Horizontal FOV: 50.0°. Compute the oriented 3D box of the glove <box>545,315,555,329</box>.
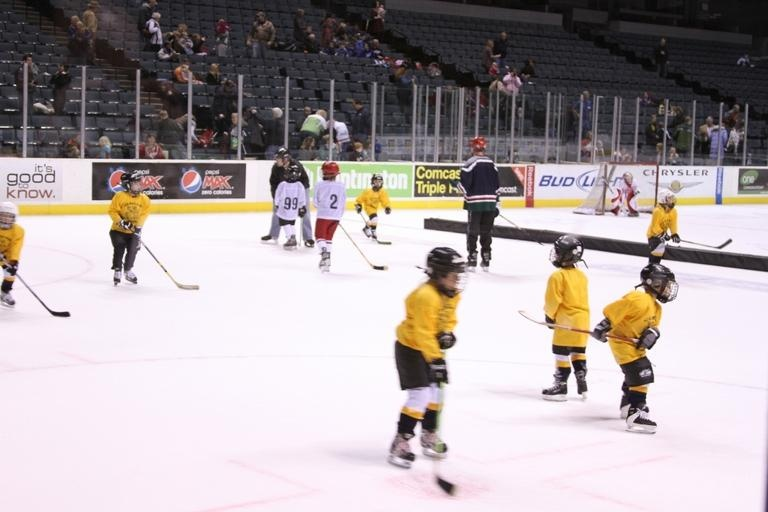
[{"bbox_3d":[1.422,0.574,7.042,0.060,0.158,0.116,-11,15,12],"label":"glove"}]

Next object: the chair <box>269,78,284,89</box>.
[{"bbox_3d":[-2.486,-4.043,19.182,0.291,0.360,0.309,-3,17,-24],"label":"chair"}]

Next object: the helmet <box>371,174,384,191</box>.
[{"bbox_3d":[-0.138,-1.330,14.892,0.295,0.270,0.219,-4,-3,36],"label":"helmet"}]

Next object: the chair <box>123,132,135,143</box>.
[{"bbox_3d":[-5.265,-2.483,17.154,0.286,0.255,0.206,4,14,6],"label":"chair"}]

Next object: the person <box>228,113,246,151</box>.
[{"bbox_3d":[-3.236,-2.727,18.133,0.350,0.840,0.098,-2,14,-14],"label":"person"}]

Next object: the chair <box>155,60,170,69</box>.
[{"bbox_3d":[-5.340,-4.606,19.911,0.265,0.333,0.254,-9,23,-35],"label":"chair"}]

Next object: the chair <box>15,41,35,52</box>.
[{"bbox_3d":[-8.327,-4.837,19.005,0.326,0.376,0.291,26,29,38],"label":"chair"}]

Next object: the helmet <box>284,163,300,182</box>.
[{"bbox_3d":[-1.492,-1.334,13.268,0.235,0.278,0.286,6,-18,-28],"label":"helmet"}]

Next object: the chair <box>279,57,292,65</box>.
[{"bbox_3d":[-2.641,-5.159,21.925,0.348,0.212,0.255,-1,13,-12],"label":"chair"}]

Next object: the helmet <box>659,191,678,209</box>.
[{"bbox_3d":[3.976,-0.802,11.546,0.199,0.248,0.505,6,13,17],"label":"helmet"}]

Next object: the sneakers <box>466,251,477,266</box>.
[{"bbox_3d":[1.301,0.036,12.133,0.139,0.257,0.475,3,13,5],"label":"sneakers"}]

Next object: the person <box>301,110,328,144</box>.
[{"bbox_3d":[-1.609,-2.947,18.794,0.481,0.272,0.814,13,52,16],"label":"person"}]

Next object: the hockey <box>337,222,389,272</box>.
[{"bbox_3d":[-0.354,-0.146,13.777,0.295,0.357,2.427,-33,-19,8],"label":"hockey"}]

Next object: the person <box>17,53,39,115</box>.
[{"bbox_3d":[-7.020,-3.357,16.187,0.409,1.257,0.445,35,36,26],"label":"person"}]

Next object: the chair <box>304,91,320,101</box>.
[{"bbox_3d":[-1.724,-3.823,19.554,0.274,0.229,0.266,-1,10,-7],"label":"chair"}]

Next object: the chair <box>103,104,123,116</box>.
[{"bbox_3d":[-5.790,-3.094,17.412,0.422,0.227,0.288,-2,5,-15],"label":"chair"}]

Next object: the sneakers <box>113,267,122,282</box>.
[{"bbox_3d":[-3.378,0.242,10.420,0.080,0.209,0.103,-2,0,-20],"label":"sneakers"}]

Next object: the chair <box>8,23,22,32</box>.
[{"bbox_3d":[-8.812,-5.443,19.543,0.246,0.191,0.339,14,18,42],"label":"chair"}]

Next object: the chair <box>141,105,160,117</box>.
[{"bbox_3d":[-4.918,-3.050,17.251,0.280,0.180,0.262,-1,12,-27],"label":"chair"}]

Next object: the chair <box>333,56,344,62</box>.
[{"bbox_3d":[-1.267,-5.516,23.003,0.228,0.185,0.298,5,13,14],"label":"chair"}]

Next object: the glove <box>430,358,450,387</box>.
[{"bbox_3d":[0.396,0.803,5.760,0.165,0.228,0.175,-2,2,5],"label":"glove"}]

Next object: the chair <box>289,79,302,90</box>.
[{"bbox_3d":[-2.110,-4.110,19.654,0.316,0.254,0.247,0,8,-1],"label":"chair"}]

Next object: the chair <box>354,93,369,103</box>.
[{"bbox_3d":[-0.541,-3.770,19.439,0.284,0.291,0.288,1,2,6],"label":"chair"}]

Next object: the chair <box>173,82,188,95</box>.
[{"bbox_3d":[-4.326,-3.581,17.583,0.443,0.290,0.231,3,12,5],"label":"chair"}]

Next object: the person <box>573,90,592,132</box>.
[{"bbox_3d":[5.340,-3.869,21.936,0.735,0.987,0.222,-11,18,-43],"label":"person"}]

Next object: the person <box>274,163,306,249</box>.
[{"bbox_3d":[-1.528,-0.797,13.430,0.530,1.395,0.410,0,14,-6],"label":"person"}]

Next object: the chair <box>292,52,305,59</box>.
[{"bbox_3d":[-2.311,-5.419,22.286,0.237,0.206,0.226,-4,13,-18],"label":"chair"}]

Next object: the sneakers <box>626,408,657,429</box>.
[{"bbox_3d":[2.011,1.250,6.357,0.296,0.184,0.106,3,5,-5],"label":"sneakers"}]

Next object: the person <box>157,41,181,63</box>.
[{"bbox_3d":[-5.305,-5.032,20.200,0.523,0.491,0.727,-2,13,-15],"label":"person"}]

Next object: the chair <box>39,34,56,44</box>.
[{"bbox_3d":[-8.055,-5.152,19.583,0.282,0.262,0.269,23,33,23],"label":"chair"}]

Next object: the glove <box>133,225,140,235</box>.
[{"bbox_3d":[-3.124,-0.332,10.401,0.085,0.070,0.090,4,14,-1],"label":"glove"}]

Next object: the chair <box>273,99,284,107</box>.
[{"bbox_3d":[-2.442,-3.512,18.968,0.243,0.154,0.146,-3,14,-19],"label":"chair"}]

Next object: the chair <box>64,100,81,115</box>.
[{"bbox_3d":[-6.320,-3.032,16.797,0.427,0.355,0.221,2,11,-10],"label":"chair"}]

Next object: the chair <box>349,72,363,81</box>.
[{"bbox_3d":[-0.756,-4.838,22.202,0.297,0.239,0.219,-3,21,-5],"label":"chair"}]

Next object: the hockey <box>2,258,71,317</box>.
[{"bbox_3d":[-4.129,0.388,9.739,0.970,0.112,0.145,31,55,2],"label":"hockey"}]

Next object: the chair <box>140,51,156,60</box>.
[{"bbox_3d":[-5.821,-4.939,20.232,0.289,0.330,0.255,0,24,-7],"label":"chair"}]

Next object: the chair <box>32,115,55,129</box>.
[{"bbox_3d":[-6.811,-2.688,16.448,0.301,0.210,0.290,-4,11,-27],"label":"chair"}]

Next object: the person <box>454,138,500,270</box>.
[{"bbox_3d":[1.391,-0.783,12.171,0.611,1.921,0.898,3,13,5],"label":"person"}]

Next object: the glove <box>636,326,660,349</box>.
[{"bbox_3d":[2.040,0.630,6.384,0.129,0.178,0.071,37,11,-8],"label":"glove"}]

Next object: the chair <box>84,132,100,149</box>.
[{"bbox_3d":[-6.021,-2.391,16.893,0.337,0.386,0.344,0,4,-32],"label":"chair"}]

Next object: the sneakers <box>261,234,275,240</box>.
[{"bbox_3d":[-1.982,-0.335,14.103,0.227,0.090,0.081,1,6,-7],"label":"sneakers"}]

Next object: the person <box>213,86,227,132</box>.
[{"bbox_3d":[-3.540,-3.168,17.827,0.357,1.012,0.122,-10,18,-40],"label":"person"}]

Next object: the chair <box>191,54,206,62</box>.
[{"bbox_3d":[-4.688,-5.012,20.810,0.271,0.232,0.268,1,15,-5],"label":"chair"}]

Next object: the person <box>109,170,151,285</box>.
[{"bbox_3d":[-3.250,-0.381,10.497,0.487,1.420,0.469,-3,14,-19],"label":"person"}]

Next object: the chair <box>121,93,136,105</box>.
[{"bbox_3d":[-5.419,-3.330,17.359,0.173,0.293,0.322,-4,-2,31],"label":"chair"}]

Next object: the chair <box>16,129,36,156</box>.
[{"bbox_3d":[-7.047,-2.244,16.183,0.393,0.534,0.197,-6,16,-31],"label":"chair"}]

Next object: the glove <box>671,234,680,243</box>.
[{"bbox_3d":[4.117,-0.261,11.606,0.127,0.117,0.037,1,14,-18],"label":"glove"}]

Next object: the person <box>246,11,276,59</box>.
[{"bbox_3d":[-3.336,-5.905,21.970,0.660,1.189,0.729,11,16,35],"label":"person"}]

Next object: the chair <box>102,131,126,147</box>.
[{"bbox_3d":[-5.610,-2.416,16.927,0.396,0.347,0.364,-2,6,-32],"label":"chair"}]
